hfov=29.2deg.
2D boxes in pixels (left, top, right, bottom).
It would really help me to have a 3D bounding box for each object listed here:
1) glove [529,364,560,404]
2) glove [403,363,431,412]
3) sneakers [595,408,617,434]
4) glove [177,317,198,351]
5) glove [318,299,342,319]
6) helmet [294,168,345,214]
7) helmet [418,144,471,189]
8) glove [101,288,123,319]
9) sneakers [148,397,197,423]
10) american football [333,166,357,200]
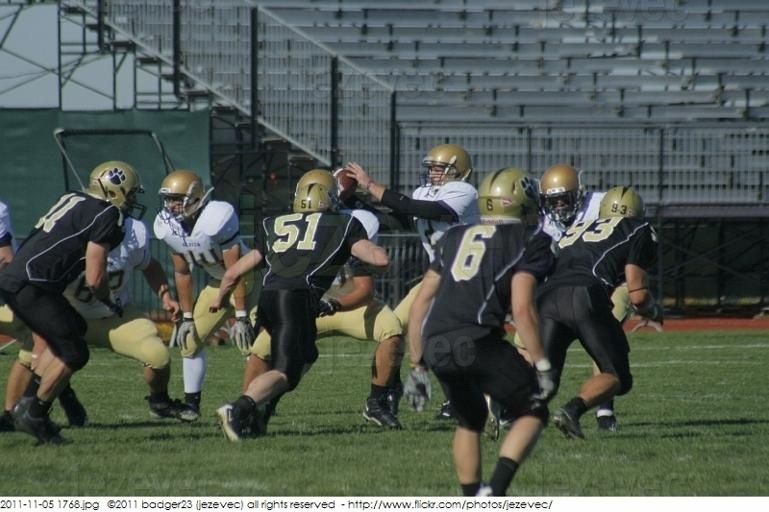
[{"bbox_3d":[1.758,1.393,16.053,0.315,0.383,0.149,1,-5,2],"label":"glove"},{"bbox_3d":[0.392,1.476,16.734,0.383,0.449,0.215,2,8,20],"label":"glove"},{"bbox_3d":[2.641,1.937,17.578,0.213,0.244,0.267,-1,-15,4],"label":"sneakers"},{"bbox_3d":[-2.379,0.958,17.897,0.278,0.344,0.108,4,-1,10],"label":"glove"},{"bbox_3d":[-0.667,0.595,17.248,0.171,0.104,0.242,21,47,42],"label":"glove"},{"bbox_3d":[-0.761,-0.738,17.306,0.421,0.417,0.552,4,27,12],"label":"helmet"},{"bbox_3d":[0.771,-1.159,18.295,0.652,0.466,0.473,-5,21,-23],"label":"helmet"},{"bbox_3d":[-3.180,0.539,17.391,0.131,0.413,0.175,-40,17,-20],"label":"glove"},{"bbox_3d":[-2.549,1.857,17.839,0.702,0.285,0.244,0,-1,-1],"label":"sneakers"},{"bbox_3d":[-0.492,-0.881,18.325,0.305,0.367,0.377,-3,36,17],"label":"american football"}]
